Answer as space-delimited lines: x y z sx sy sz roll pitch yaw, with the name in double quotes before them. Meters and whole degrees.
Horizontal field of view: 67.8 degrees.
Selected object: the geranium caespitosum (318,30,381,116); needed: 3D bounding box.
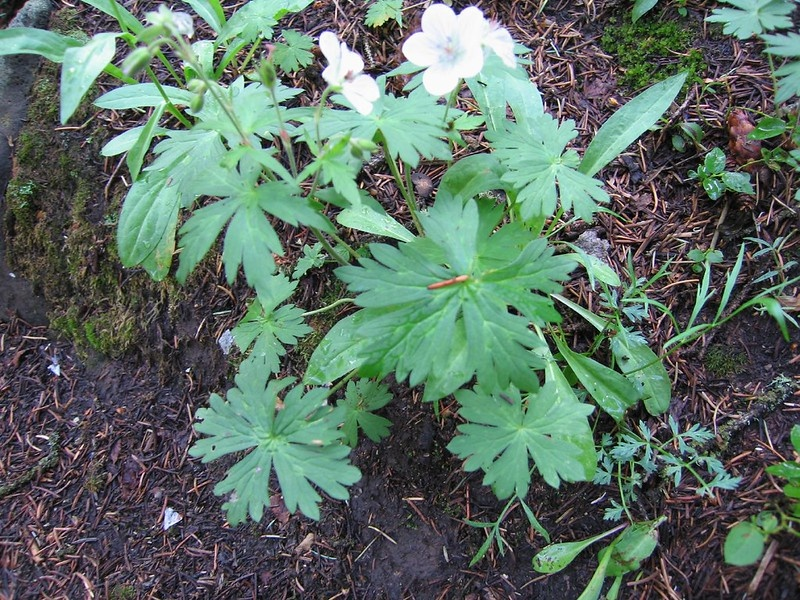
"geranium caespitosum" -0.292 -1.250 3.306 0.399 0.435 0.141 0 8 -38
